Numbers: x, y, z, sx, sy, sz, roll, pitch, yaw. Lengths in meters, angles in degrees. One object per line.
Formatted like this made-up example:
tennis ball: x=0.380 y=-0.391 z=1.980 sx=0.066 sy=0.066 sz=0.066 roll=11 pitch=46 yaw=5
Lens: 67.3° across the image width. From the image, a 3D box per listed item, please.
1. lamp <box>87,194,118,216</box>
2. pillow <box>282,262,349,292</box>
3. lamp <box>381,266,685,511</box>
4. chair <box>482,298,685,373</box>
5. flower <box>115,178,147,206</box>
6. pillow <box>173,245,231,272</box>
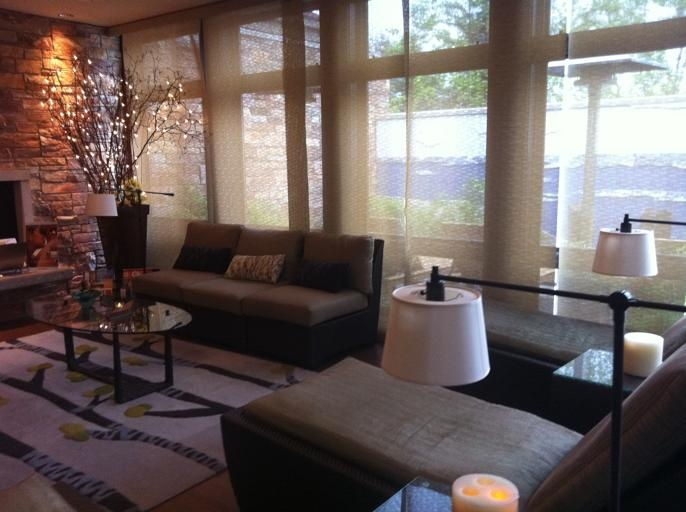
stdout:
lamp: x=-2.538 y=-0.536 z=5.520 sx=0.300 sy=0.166 sz=0.285 roll=2 pitch=2 yaw=36
pillow: x=-0.188 y=0.178 z=4.671 sx=0.694 sy=0.207 sz=0.274 roll=3 pitch=20 yaw=30
lamp: x=0.478 y=0.369 z=1.530 sx=0.701 sy=0.706 sz=0.308 roll=8 pitch=18 yaw=26
chair: x=1.546 y=0.551 z=3.829 sx=1.217 sy=0.223 sz=0.503 roll=5 pitch=15 yaw=32
flower: x=-2.551 y=-0.773 z=6.219 sx=0.313 sy=0.304 sz=0.281 roll=-5 pitch=16 yaw=-19
pillow: x=-1.469 y=0.038 z=5.462 sx=0.854 sy=0.234 sz=0.265 roll=3 pitch=27 yaw=22
